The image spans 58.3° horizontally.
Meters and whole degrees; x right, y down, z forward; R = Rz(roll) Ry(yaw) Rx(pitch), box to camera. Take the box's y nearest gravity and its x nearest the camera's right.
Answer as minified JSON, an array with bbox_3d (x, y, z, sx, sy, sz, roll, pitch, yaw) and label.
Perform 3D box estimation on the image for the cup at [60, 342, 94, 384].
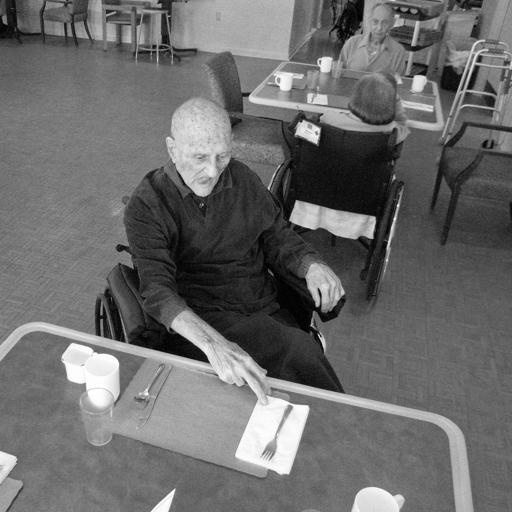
[{"bbox_3d":[-0.469,0.278,1.202,0.073,0.076,0.094,14,33,6],"label":"cup"}]

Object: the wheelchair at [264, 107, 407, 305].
[{"bbox_3d":[0.562,-0.457,3.074,0.867,1.370,1.148,9,53,9],"label":"wheelchair"}]

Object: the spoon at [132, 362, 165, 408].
[{"bbox_3d":[-0.279,0.336,1.197,0.025,0.036,0.139,5,33,9],"label":"spoon"}]

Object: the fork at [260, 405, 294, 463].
[{"bbox_3d":[0.053,0.434,1.153,0.028,0.020,0.224,11,31,14],"label":"fork"}]

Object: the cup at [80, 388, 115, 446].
[{"bbox_3d":[-0.375,0.387,1.087,0.071,0.115,0.071,0,24,0],"label":"cup"}]

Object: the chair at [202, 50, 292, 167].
[{"bbox_3d":[-0.006,-1.148,3.914,0.636,1.075,0.675,8,35,1],"label":"chair"}]

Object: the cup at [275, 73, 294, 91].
[{"bbox_3d":[0.232,-1.390,3.695,0.167,0.155,0.110,-22,42,-29],"label":"cup"}]
